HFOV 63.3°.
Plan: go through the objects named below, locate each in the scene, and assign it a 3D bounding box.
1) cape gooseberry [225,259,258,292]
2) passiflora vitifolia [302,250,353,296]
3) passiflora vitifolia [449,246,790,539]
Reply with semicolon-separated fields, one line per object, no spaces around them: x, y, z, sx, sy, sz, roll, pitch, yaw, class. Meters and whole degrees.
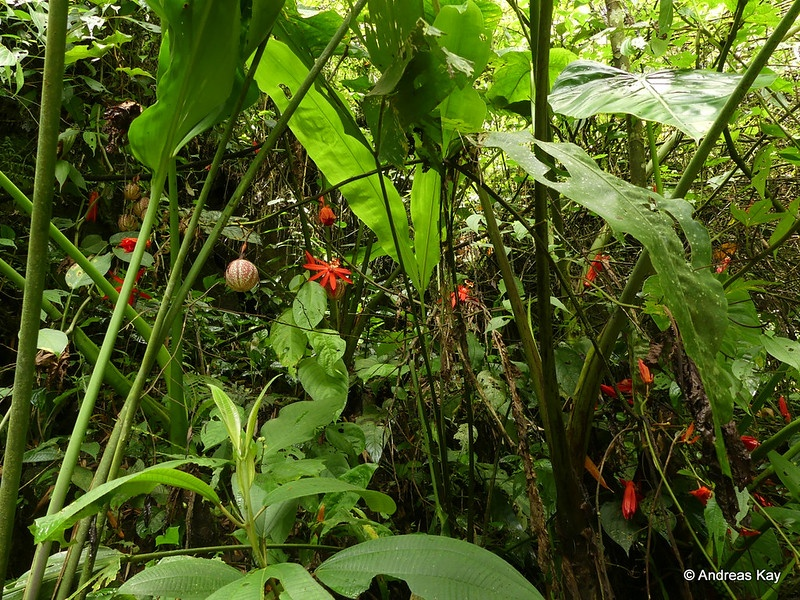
-0.399;-0.062;1.691;0.072;0.106;0.084;3;-7;17;cape gooseberry
-0.178;-0.066;1.711;0.109;0.089;0.129;4;-11;40;passiflora vitifolia
0.428;0.186;1.296;0.557;0.492;0.316;20;11;38;passiflora vitifolia
